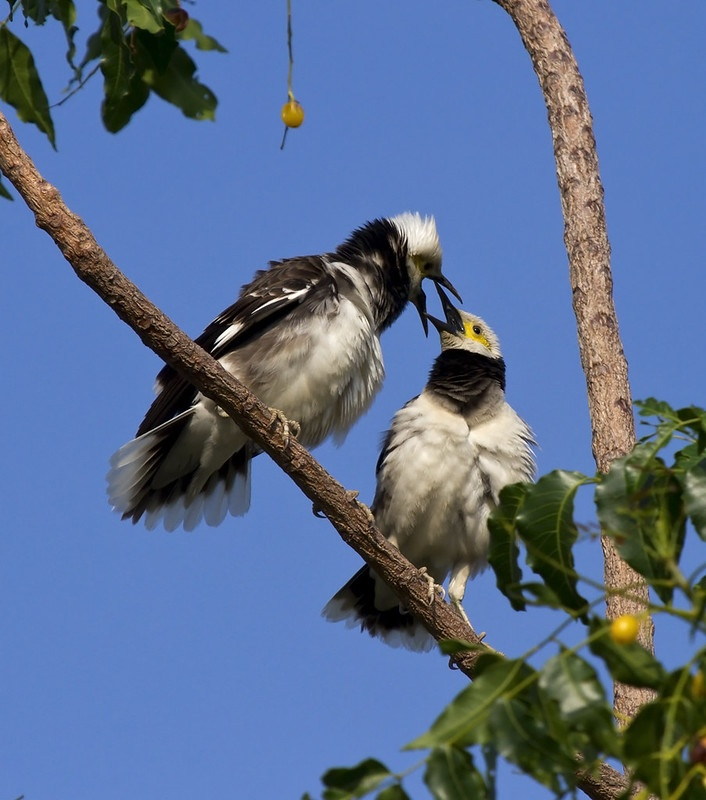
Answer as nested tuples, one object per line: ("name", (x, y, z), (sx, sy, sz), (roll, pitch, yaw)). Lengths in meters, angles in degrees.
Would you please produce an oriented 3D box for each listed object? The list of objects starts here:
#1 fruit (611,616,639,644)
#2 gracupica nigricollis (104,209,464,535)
("fruit", (0.523, 0.441, 3.347), (0.051, 0.062, 0.052), (8, -10, 7))
("gracupica nigricollis", (-0.246, -0.149, 6.109), (1.599, 1.439, 0.748), (-3, -7, -10))
